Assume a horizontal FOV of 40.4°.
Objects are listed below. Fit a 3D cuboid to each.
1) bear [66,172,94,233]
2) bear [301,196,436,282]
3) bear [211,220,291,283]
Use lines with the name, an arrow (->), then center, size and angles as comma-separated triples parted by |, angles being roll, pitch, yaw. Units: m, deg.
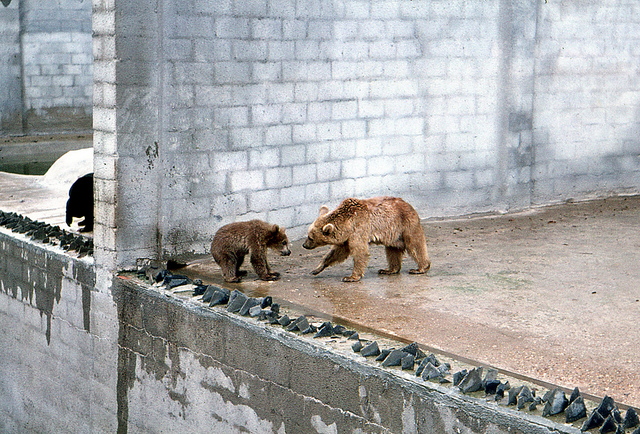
bear -> -3.312, -0.200, 11.978 | 0.344, 0.827, 0.589 | 0, 5, -17
bear -> 0.573, 0.152, 10.888 | 1.268, 1.200, 1.307 | 11, 15, 41
bear -> -0.865, 0.392, 10.510 | 1.037, 0.819, 0.562 | -2, 11, -13
